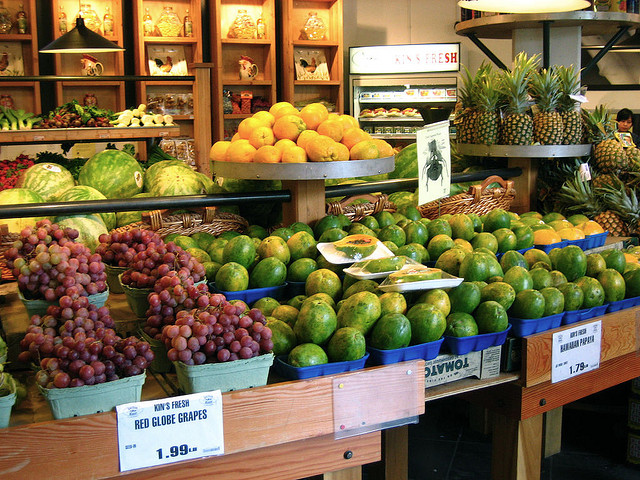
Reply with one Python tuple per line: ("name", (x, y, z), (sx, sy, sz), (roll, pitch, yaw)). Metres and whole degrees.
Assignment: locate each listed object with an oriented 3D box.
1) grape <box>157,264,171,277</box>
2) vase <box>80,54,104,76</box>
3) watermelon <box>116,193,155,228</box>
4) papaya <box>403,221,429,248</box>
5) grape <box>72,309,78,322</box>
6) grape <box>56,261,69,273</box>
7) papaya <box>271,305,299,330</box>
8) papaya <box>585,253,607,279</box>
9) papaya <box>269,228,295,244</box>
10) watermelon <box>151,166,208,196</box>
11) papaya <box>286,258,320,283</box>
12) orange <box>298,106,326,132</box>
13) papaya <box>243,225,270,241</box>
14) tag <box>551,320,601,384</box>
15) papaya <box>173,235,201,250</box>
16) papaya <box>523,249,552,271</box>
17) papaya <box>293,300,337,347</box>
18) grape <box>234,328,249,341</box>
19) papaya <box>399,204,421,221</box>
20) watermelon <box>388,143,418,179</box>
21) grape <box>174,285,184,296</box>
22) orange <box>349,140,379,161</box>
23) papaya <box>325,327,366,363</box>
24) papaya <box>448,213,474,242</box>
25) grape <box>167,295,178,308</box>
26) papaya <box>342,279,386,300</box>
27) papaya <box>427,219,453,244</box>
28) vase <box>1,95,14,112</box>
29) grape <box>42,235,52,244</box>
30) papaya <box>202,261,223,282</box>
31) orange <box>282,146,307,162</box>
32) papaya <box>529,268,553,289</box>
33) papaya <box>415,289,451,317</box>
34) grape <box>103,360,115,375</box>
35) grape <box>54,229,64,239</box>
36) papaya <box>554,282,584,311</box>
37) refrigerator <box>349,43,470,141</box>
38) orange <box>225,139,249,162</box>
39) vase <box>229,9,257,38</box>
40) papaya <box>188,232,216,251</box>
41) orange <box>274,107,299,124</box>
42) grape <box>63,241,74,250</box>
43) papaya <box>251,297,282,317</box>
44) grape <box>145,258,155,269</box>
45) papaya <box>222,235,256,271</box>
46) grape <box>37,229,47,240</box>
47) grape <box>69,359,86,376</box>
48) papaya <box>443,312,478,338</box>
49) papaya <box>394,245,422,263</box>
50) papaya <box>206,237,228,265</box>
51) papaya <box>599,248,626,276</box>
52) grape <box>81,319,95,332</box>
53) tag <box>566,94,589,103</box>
("grape", (-0.415, 0.080, 1.296), (0.031, 0.034, 0.030), (7, 26, 10))
("vase", (-2.915, -2.238, 6.230), (0.245, 0.258, 0.213), (-9, 15, -27))
("watermelon", (-0.725, -0.107, 1.912), (0.143, 0.127, 0.163), (-7, -7, 3))
("papaya", (0.351, -0.024, 1.781), (0.095, 0.100, 0.084), (0, 18, 8))
("grape", (-0.560, 0.171, 1.111), (0.017, 0.019, 0.016), (2, -18, -22))
("grape", (-0.648, 0.068, 1.225), (0.018, 0.021, 0.018), (-39, 56, -19))
("papaya", (-0.098, 0.215, 1.356), (0.058, 0.062, 0.056), (2, 5, 7))
("papaya", (0.937, 0.089, 1.661), (0.087, 0.092, 0.080), (0, 1, -3))
("papaya", (-0.128, -0.013, 1.691), (0.058, 0.053, 0.054), (1, 2, -4))
("watermelon", (-0.713, -0.297, 2.480), (0.203, 0.193, 0.262), (-17, 3, -16))
("papaya", (-0.059, 0.096, 1.558), (0.097, 0.068, 0.069), (-22, 1, 1))
("orange", (-0.027, -0.473, 1.931), (0.099, 0.098, 0.102), (-21, 26, -13))
("papaya", (-0.250, -0.027, 1.848), (0.061, 0.042, 0.076), (-9, 5, -38))
("tag", (0.794, 0.341, 1.501), (0.236, 0.159, 0.024), (-9, 15, -28))
("papaya", (-0.466, 0.017, 1.701), (0.087, 0.049, 0.129), (-5, 14, -15))
("papaya", (0.761, 0.059, 1.723), (0.082, 0.061, 0.061), (26, 60, 39))
("papaya", (-0.009, 0.209, 1.299), (0.129, 0.103, 0.113), (-9, 17, -37))
("grape", (-0.174, 0.211, 1.094), (0.027, 0.030, 0.026), (3, -2, 5))
("papaya", (0.388, -0.116, 2.107), (0.062, 0.057, 0.079), (-6, 10, -16))
("watermelon", (0.485, -0.447, 2.870), (0.199, 0.237, 0.088), (2, 8, -28))
("grape", (-0.340, 0.121, 1.169), (0.021, 0.024, 0.021), (15, 14, 26))
("orange", (0.161, -0.331, 1.821), (0.104, 0.061, 0.065), (1, 14, 11))
("papaya", (0.061, 0.263, 1.218), (0.099, 0.076, 0.067), (-2, 14, -2))
("papaya", (0.540, -0.048, 1.912), (0.103, 0.112, 0.094), (0, 1, 9))
("grape", (-0.354, 0.149, 1.172), (0.026, 0.029, 0.026), (6, 8, 17))
("papaya", (0.126, 0.138, 1.426), (0.097, 0.055, 0.058), (-25, -2, -4))
("papaya", (0.441, -0.038, 1.810), (0.069, 0.068, 0.090), (-7, -3, -4))
("vase", (-3.791, -1.683, 5.910), (0.120, 0.161, 0.540), (-9, 16, -28))
("grape", (-0.713, 0.001, 1.282), (0.020, 0.022, 0.019), (1, 4, 4))
("papaya", (-0.345, 0.100, 1.551), (0.060, 0.056, 0.060), (1, 8, 31))
("orange", (-0.095, -0.300, 1.725), (0.064, 0.059, 0.062), (-8, 3, 4))
("papaya", (0.697, 0.122, 1.545), (0.055, 0.051, 0.068), (-1, 40, -15))
("papaya", (0.326, 0.160, 1.399), (0.085, 0.091, 0.077), (12, 17, 13))
("grape", (-0.439, 0.267, 1.022), (0.025, 0.027, 0.024), (0, 7, -8))
("grape", (-0.694, -0.014, 1.302), (0.021, 0.023, 0.020), (10, -29, -30))
("papaya", (0.761, 0.175, 1.540), (0.085, 0.095, 0.080), (2, 9, 11))
("refrigerator", (1.529, -2.455, 8.505), (1.866, 1.732, 0.639), (5, 26, 20))
("orange", (-0.308, -0.331, 1.820), (0.092, 0.067, 0.066), (-19, -29, 13))
("vase", (-1.044, -2.951, 6.707), (0.392, 0.400, 0.362), (2, 21, 3))
("papaya", (-0.435, -0.001, 1.802), (0.085, 0.070, 0.066), (21, 49, 3))
("orange", (-0.132, -0.496, 1.933), (0.072, 0.080, 0.069), (3, 16, 0))
("grape", (-0.651, 0.016, 1.266), (0.018, 0.019, 0.017), (0, 1, 4))
("papaya", (-0.153, 0.190, 1.408), (0.054, 0.047, 0.050), (3, 12, 1))
("grape", (-0.467, 0.065, 1.343), (0.024, 0.020, 0.023), (7, 23, 1))
("papaya", (-0.235, 0.027, 1.559), (0.108, 0.118, 0.100), (11, 16, -5))
("grape", (-0.731, -0.014, 1.281), (0.023, 0.026, 0.022), (5, -23, -18))
("grape", (-0.501, 0.264, 1.008), (0.029, 0.027, 0.022), (-9, 15, -28))
("papaya", (0.384, 0.236, 1.341), (0.069, 0.065, 0.064), (9, -27, -14))
("papaya", (0.283, 0.038, 1.600), (0.059, 0.056, 0.075), (18, 12, -10))
("papaya", (-0.329, 0.056, 1.677), (0.083, 0.078, 0.095), (21, 32, -26))
("papaya", (1.025, 0.077, 1.735), (0.094, 0.101, 0.085), (2, -4, 37))
("grape", (-0.518, 0.190, 1.089), (0.023, 0.021, 0.026), (11, 18, 10))
("tag", (1.403, -0.764, 2.629), (0.102, 0.039, 0.108), (-2, 14, -2))
